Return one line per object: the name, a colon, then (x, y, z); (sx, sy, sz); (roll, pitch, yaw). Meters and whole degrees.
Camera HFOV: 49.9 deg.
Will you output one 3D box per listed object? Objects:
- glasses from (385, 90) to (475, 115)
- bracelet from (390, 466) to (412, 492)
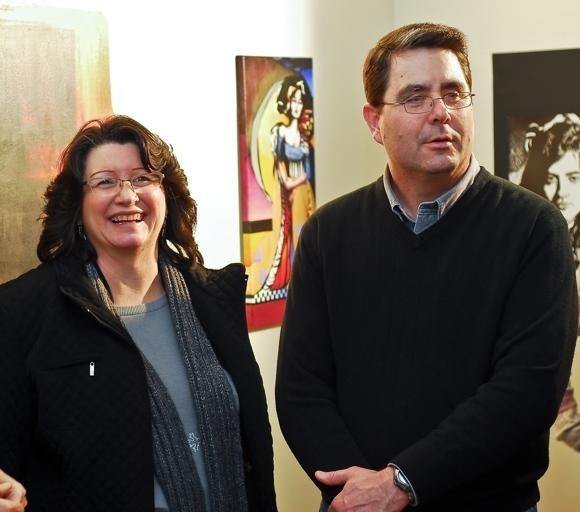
glasses: (0.420, -0.468, 1.918); (0.267, 0.063, 0.087); (-3, 7, 12)
bracelet: (0.309, 0.623, 1.740); (0.022, 0.066, 0.054); (-12, 19, -29)
